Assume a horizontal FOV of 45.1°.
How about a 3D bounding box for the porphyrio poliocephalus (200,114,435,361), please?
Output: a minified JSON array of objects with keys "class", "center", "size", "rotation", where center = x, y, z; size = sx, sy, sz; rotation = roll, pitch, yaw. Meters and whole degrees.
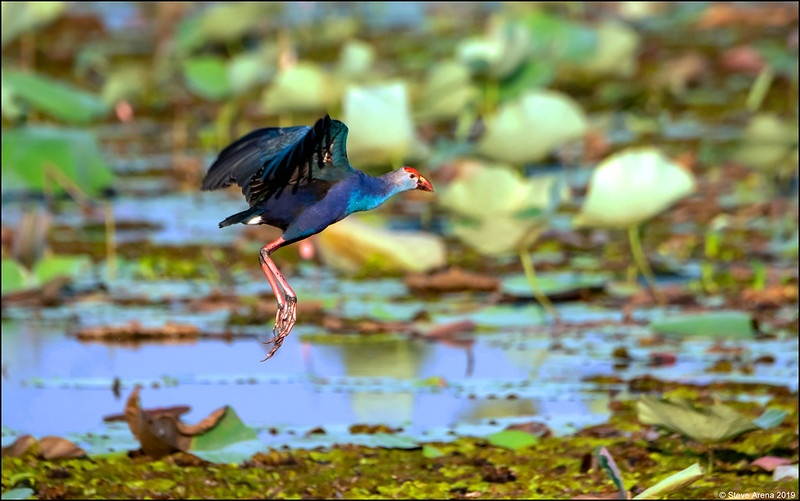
[{"class":"porphyrio poliocephalus","center":[-0.155,-0.025,1.652],"size":[0.296,0.370,0.274],"rotation":[0,3,33]}]
